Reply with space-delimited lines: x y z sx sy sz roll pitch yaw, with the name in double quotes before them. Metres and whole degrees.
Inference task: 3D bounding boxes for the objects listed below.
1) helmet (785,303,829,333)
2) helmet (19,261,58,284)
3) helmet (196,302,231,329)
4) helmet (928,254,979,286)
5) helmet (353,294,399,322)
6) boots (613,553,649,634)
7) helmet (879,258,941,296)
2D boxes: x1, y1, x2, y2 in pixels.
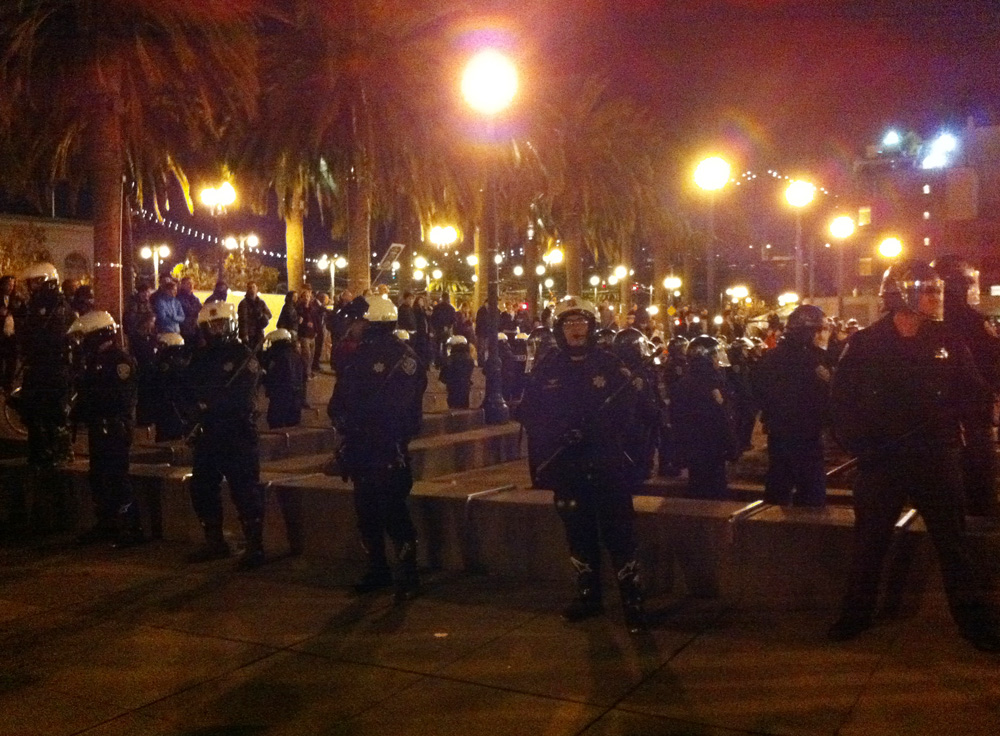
"helmet" 3.054 -0.501 10.292 0.291 0.166 0.440 0 6 22
"helmet" -5.618 -1.171 12.610 0.355 0.298 0.277 6 0 7
"helmet" -2.896 -0.561 10.459 0.297 0.242 0.216 -16 13 -6
"helmet" 3.716 -0.816 8.484 0.489 0.235 0.645 3 9 28
"helmet" -1.150 -0.648 9.661 0.423 0.338 0.260 1 3 -3
"boots" 1.074 1.818 8.423 0.248 0.548 0.567 -2 14 6
"helmet" 3.272 -0.691 8.179 0.262 0.284 0.370 -8 26 -4
